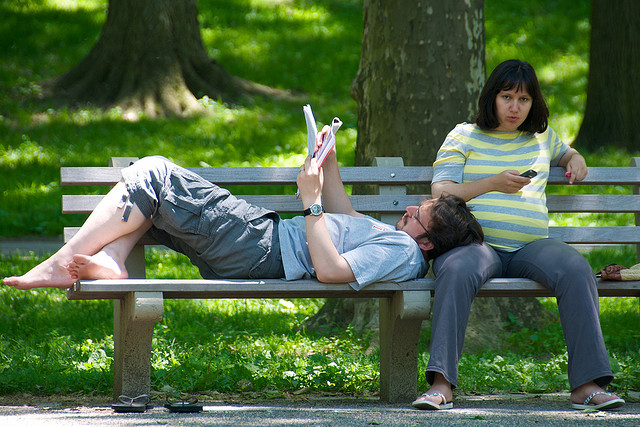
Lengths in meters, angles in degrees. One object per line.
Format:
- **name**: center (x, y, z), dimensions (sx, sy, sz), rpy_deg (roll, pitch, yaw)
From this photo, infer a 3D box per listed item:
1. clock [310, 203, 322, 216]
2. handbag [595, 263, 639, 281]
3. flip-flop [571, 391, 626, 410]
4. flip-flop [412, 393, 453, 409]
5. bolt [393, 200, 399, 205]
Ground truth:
- **clock**: center (-0.024, -0.030, 6.696), dimensions (0.076, 0.079, 0.018), rpy_deg (0, -11, -2)
- **handbag**: center (2.315, 0.450, 6.920), dimensions (0.183, 0.091, 0.150), rpy_deg (1, 3, -2)
- **flip-flop**: center (2.061, 1.378, 6.618), dimensions (0.360, 0.126, 0.139), rpy_deg (-4, -6, 16)
- **flip-flop**: center (0.832, 1.365, 6.580), dimensions (0.235, 0.075, 0.116), rpy_deg (10, -14, -29)
- **bolt**: center (0.634, -0.093, 7.468), dimensions (0.030, 0.032, 0.036), rpy_deg (16, 1, -10)
